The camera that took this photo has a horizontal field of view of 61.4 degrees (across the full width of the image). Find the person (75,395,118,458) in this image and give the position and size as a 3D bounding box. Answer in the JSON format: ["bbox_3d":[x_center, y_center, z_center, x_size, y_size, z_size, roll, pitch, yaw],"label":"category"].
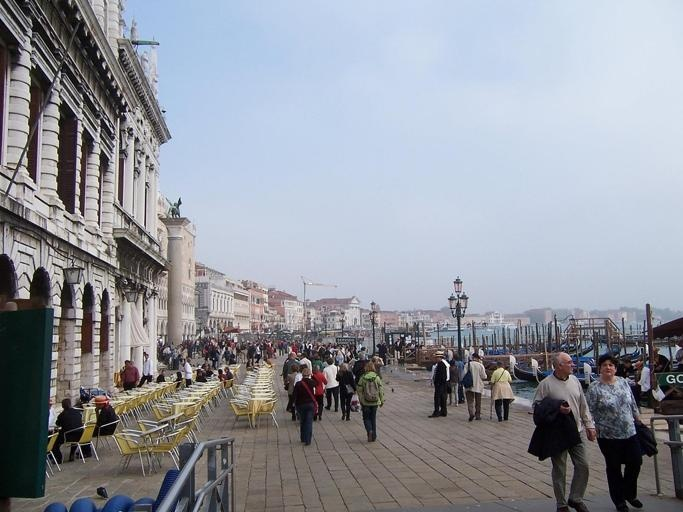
[{"bbox_3d":[-6.272,4.307,14.633,0.876,1.473,1.807,6,-14,-29],"label":"person"}]

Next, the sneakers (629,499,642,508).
[{"bbox_3d":[4.437,3.695,8.664,0.179,0.121,0.284,-7,-14,26],"label":"sneakers"}]

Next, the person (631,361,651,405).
[{"bbox_3d":[10.347,4.492,20.107,0.649,1.085,0.627,-3,-16,26],"label":"person"}]

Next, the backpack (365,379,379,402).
[{"bbox_3d":[0.746,3.661,15.493,0.452,0.718,0.378,5,-42,-6],"label":"backpack"}]

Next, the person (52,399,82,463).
[{"bbox_3d":[-6.583,4.186,13.846,0.613,1.487,0.755,5,-12,-25],"label":"person"}]

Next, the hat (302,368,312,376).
[{"bbox_3d":[-1.002,3.251,16.181,0.163,0.225,0.209,2,-6,10],"label":"hat"}]
